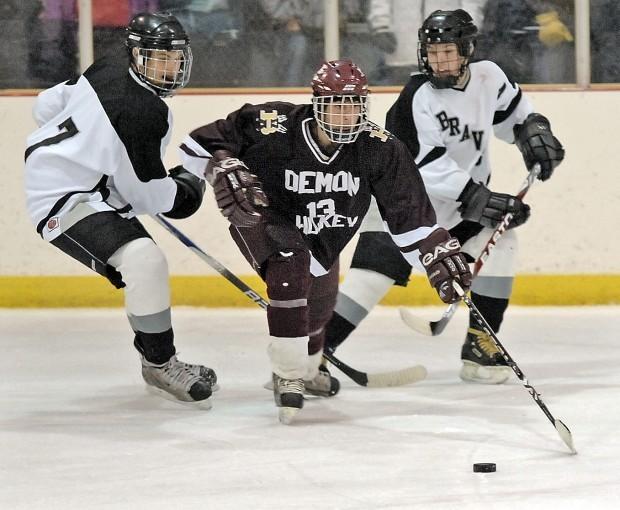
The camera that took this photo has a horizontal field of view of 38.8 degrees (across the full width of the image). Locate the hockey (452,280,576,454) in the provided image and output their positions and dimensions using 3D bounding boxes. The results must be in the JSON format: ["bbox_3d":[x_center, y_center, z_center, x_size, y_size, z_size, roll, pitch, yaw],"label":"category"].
[{"bbox_3d":[0.744,0.424,3.250,0.085,0.064,0.676,-15,52,-46],"label":"hockey"}]

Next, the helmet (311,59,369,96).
[{"bbox_3d":[0.097,-0.532,2.792,0.137,0.116,0.154,4,-22,-5],"label":"helmet"}]

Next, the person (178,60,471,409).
[{"bbox_3d":[0.051,-0.034,2.875,0.880,1.168,0.413,-3,16,-10],"label":"person"}]

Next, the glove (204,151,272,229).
[{"bbox_3d":[-0.239,-0.217,2.811,0.116,0.252,0.155,-39,-16,-10],"label":"glove"}]

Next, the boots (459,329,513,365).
[{"bbox_3d":[0.639,0.357,3.350,0.246,0.126,0.081,18,-4,-33],"label":"boots"}]

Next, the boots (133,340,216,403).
[{"bbox_3d":[-0.448,0.426,3.084,0.383,0.127,0.144,15,38,32],"label":"boots"}]

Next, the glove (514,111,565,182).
[{"bbox_3d":[0.897,-0.428,3.485,0.201,0.256,0.117,-24,-10,-12],"label":"glove"}]
